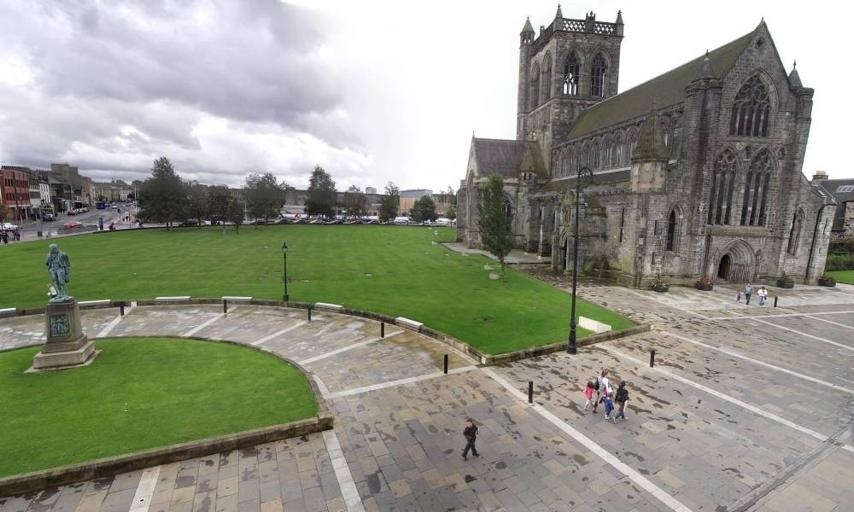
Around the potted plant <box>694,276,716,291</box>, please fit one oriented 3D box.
[{"bbox_3d":[31.146,2.836,43.818,1.848,1.182,1.934,0,1,0],"label":"potted plant"}]

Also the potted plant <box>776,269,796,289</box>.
[{"bbox_3d":[41.834,2.355,46.096,2.648,2.109,2.081,-2,3,-39],"label":"potted plant"}]

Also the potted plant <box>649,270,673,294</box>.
[{"bbox_3d":[26.010,2.519,43.622,1.795,1.993,3.041,4,7,26],"label":"potted plant"}]
